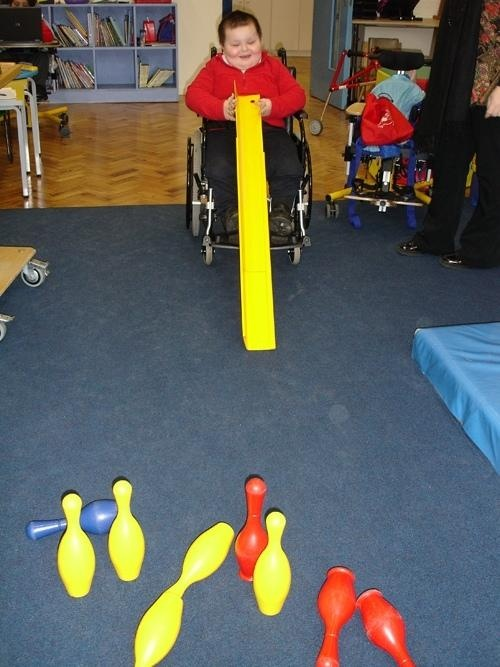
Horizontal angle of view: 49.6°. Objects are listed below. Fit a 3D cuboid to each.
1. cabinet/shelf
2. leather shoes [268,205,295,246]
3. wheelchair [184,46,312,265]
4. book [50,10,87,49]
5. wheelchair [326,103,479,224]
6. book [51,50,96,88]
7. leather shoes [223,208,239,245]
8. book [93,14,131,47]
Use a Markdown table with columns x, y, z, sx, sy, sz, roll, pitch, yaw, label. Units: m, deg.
| x | y | z | sx | sy | sz | roll | pitch | yaw | label |
| --- | --- | --- | --- | --- | --- | --- | --- | --- | --- |
| -1.769 | -3.573 | 6.834 | 1.833 | 1.591 | 0.551 | -3 | 21 | -8 | cabinet/shelf |
| 0.138 | -0.503 | 2.506 | 0.129 | 0.178 | 0.168 | 4 | 23 | -1 | leather shoes |
| -0.081 | -0.935 | 2.828 | 0.629 | 1.002 | 1.239 | -1 | 44 | -4 | wheelchair |
| -2.255 | -3.812 | 6.786 | 0.421 | 0.386 | 0.500 | -10 | 35 | -15 | book |
| 0.998 | -1.121 | 3.638 | 0.827 | 0.820 | 1.094 | 2 | 18 | -4 | wheelchair |
| -2.229 | -3.347 | 6.916 | 0.469 | 0.390 | 0.388 | -8 | 34 | -12 | book |
| -0.082 | -0.482 | 2.447 | 0.055 | 0.168 | 0.114 | -2 | 33 | -3 | leather shoes |
| -1.767 | -3.843 | 6.881 | 0.454 | 0.475 | 0.140 | -5 | 4 | -16 | book |
